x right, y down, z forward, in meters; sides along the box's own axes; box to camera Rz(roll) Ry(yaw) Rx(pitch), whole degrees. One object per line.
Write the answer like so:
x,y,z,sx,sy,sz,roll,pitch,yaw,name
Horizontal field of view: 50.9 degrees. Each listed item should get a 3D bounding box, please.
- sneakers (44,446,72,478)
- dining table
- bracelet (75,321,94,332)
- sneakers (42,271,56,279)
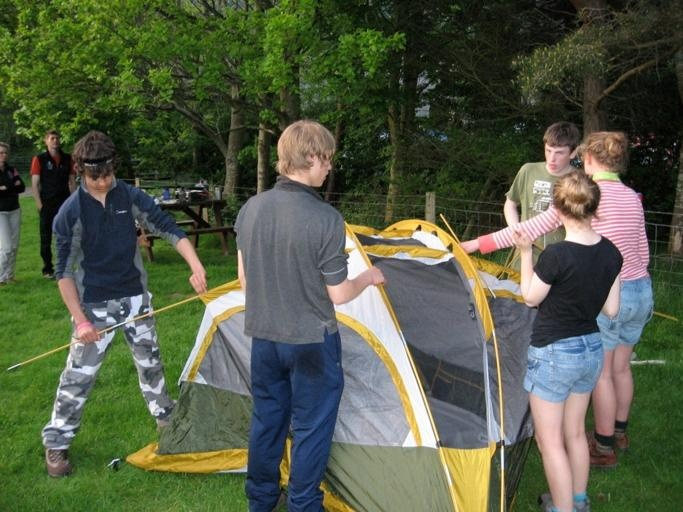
-2.404,1.766,6.143,0.119,0.164,0.321,7,-5,-41,sneakers
-2.714,-0.520,12.854,1.237,0.943,1.402,-8,1,22,dining table
-2.110,0.576,5.923,0.144,0.087,0.114,-1,6,-10,bracelet
-4.255,0.276,10.494,0.114,0.153,0.334,-2,-3,-44,sneakers
